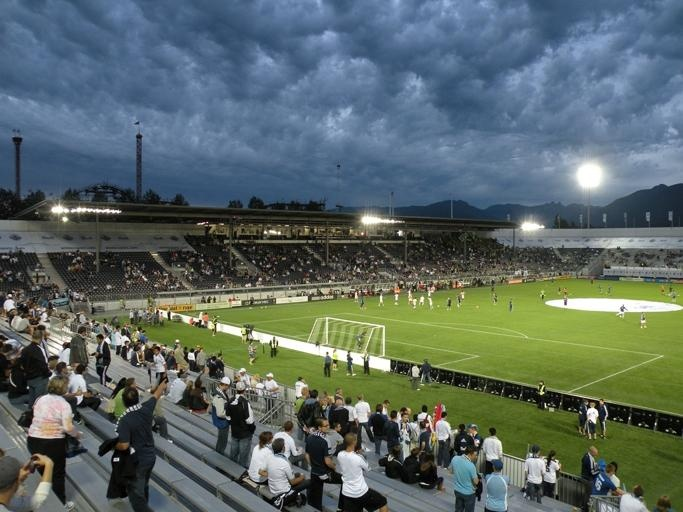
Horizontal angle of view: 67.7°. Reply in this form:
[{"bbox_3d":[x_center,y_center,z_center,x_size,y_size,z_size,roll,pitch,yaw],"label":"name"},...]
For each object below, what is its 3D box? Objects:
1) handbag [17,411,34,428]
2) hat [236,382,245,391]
[{"bbox_3d":[-6.376,3.248,10.190,0.189,0.405,0.490,8,-6,-33],"label":"handbag"},{"bbox_3d":[-2.375,3.020,11.960,0.176,0.177,0.254,5,-5,-13],"label":"hat"}]
